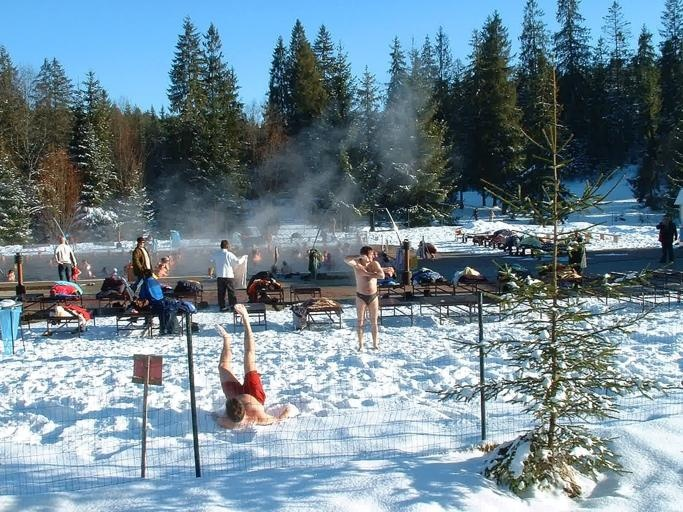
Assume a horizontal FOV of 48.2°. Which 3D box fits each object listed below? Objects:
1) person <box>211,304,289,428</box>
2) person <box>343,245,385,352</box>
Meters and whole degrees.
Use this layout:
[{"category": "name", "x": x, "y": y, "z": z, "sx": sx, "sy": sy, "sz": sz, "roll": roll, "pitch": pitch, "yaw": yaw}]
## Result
[{"category": "person", "x": -1.400, "y": 1.593, "z": 11.335, "sx": 0.999, "sy": 1.582, "sz": 1.209, "roll": -4, "pitch": 4, "yaw": -11}, {"category": "person", "x": 0.471, "y": 0.749, "z": 14.045, "sx": 0.615, "sy": 1.842, "sz": 0.815, "roll": -3, "pitch": 4, "yaw": -3}]
